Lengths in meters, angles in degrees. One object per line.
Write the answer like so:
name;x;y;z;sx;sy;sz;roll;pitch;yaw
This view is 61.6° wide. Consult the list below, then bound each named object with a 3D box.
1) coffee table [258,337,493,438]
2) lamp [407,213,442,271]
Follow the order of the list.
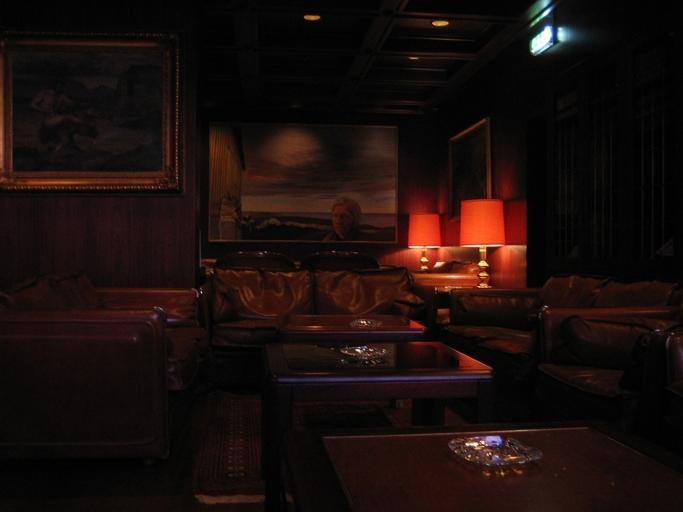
coffee table;0.111;0.648;2.674;0.990;0.393;0.686;1;4;-11
lamp;1.095;-0.174;7.618;0.486;0.701;0.459;0;-5;17
